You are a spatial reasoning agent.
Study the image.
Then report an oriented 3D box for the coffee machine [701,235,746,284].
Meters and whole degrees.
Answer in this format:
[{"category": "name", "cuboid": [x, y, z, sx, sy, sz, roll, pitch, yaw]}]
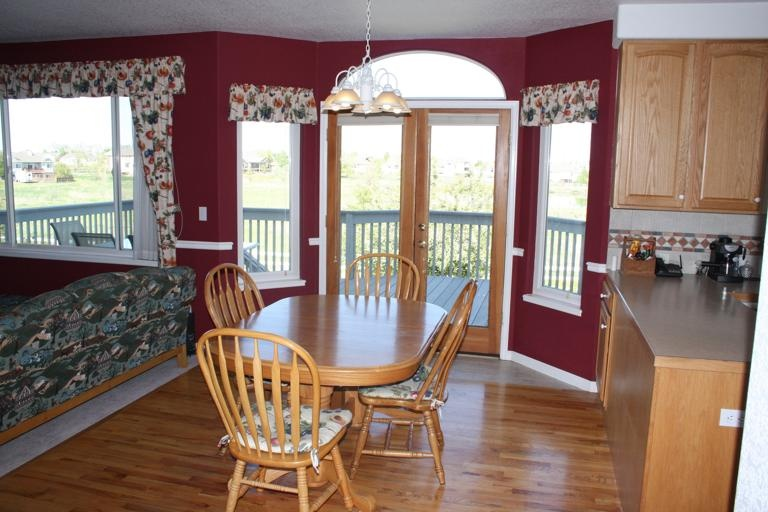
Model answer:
[{"category": "coffee machine", "cuboid": [2.880, 0.041, 4.689, 0.297, 0.449, 0.401, 0, 3, 5]}]
